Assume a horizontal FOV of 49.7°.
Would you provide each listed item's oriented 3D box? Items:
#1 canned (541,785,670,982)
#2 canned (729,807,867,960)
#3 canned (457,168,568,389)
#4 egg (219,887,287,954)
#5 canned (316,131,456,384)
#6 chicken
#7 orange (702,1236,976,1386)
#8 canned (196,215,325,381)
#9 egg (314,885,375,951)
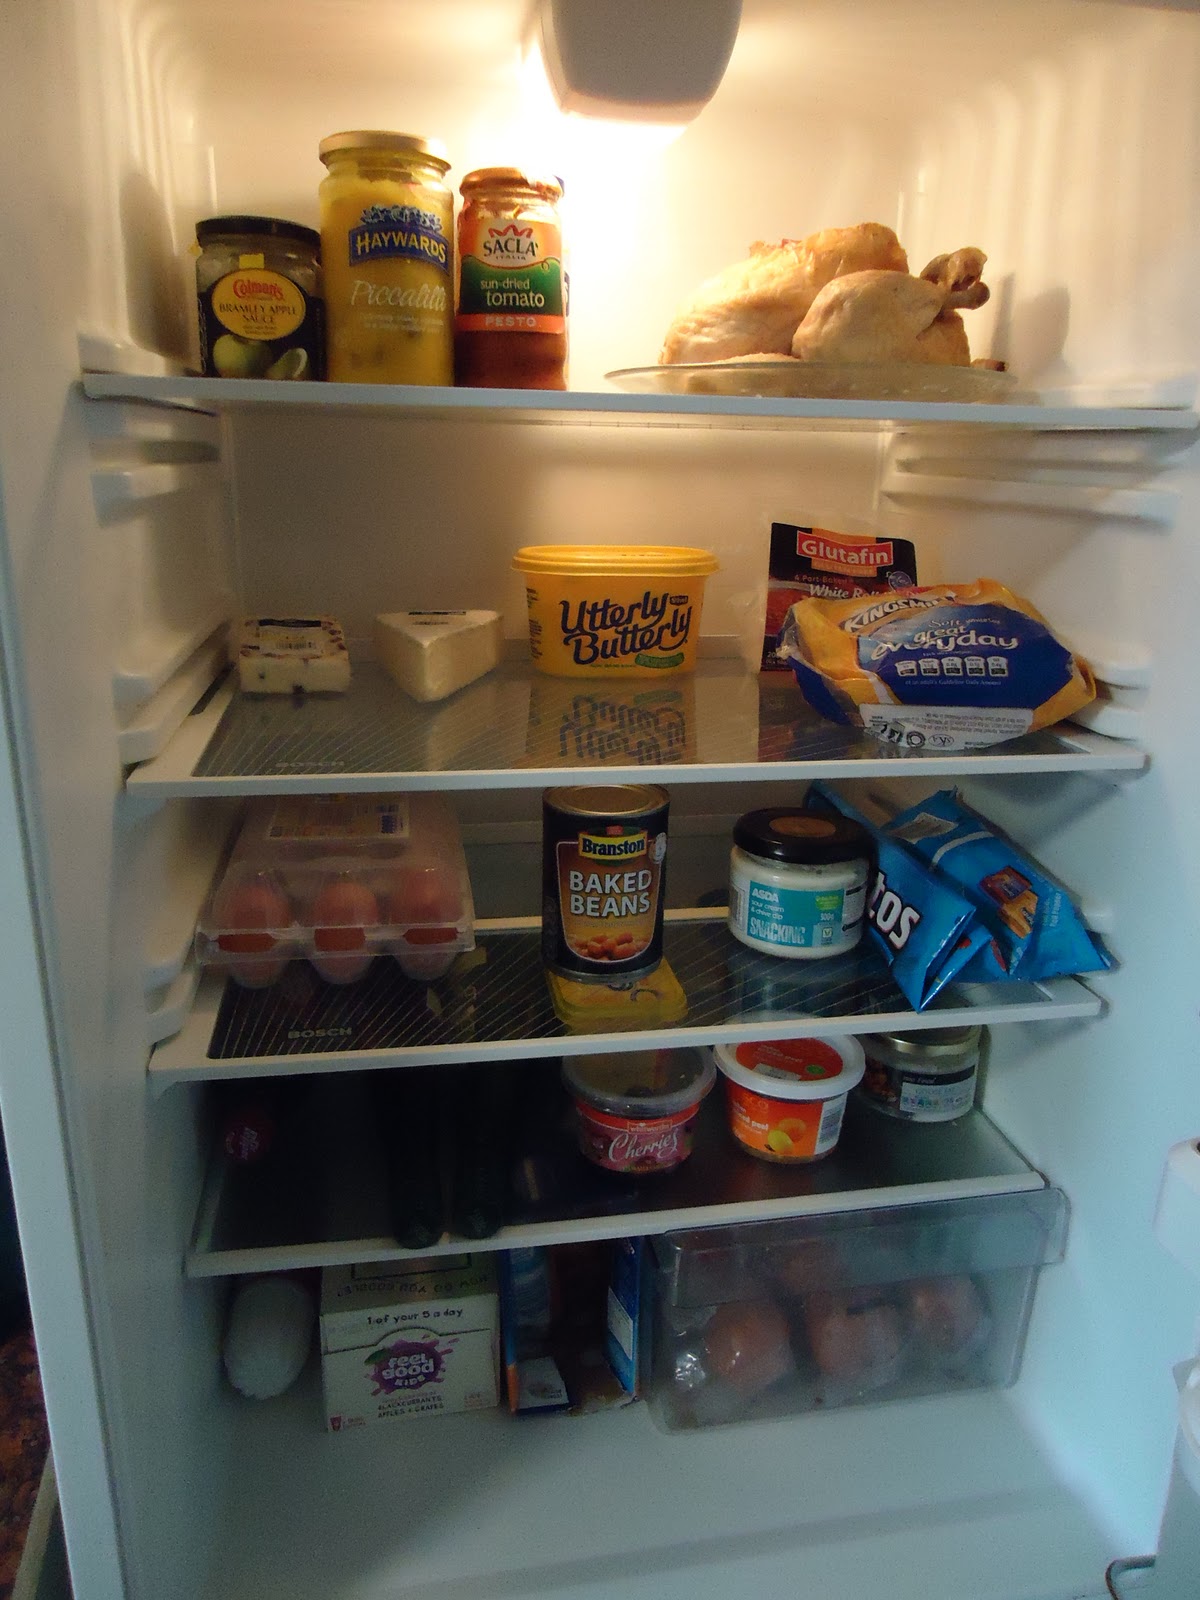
[{"bbox_3d":[0.004,0.072,1.141,0.112,0.153,0.105,0,17,-1],"label":"canned"},{"bbox_3d":[0.190,0.076,1.237,0.133,0.111,0.133,12,20,29],"label":"canned"},{"bbox_3d":[-0.070,-0.392,0.973,0.088,0.156,0.110,-1,20,-2],"label":"canned"},{"bbox_3d":[-0.279,0.103,1.081,0.050,0.057,0.049,7,-8,25],"label":"egg"},{"bbox_3d":[-0.162,-0.405,0.992,0.109,0.172,0.107,-15,25,-43],"label":"canned"},{"bbox_3d":[0.181,-0.409,1.075,0.254,0.128,0.221,1,20,3],"label":"chicken"},{"bbox_3d":[0.227,0.498,1.251,0.259,0.147,0.091,-2,-19,-4],"label":"orange"},{"bbox_3d":[-0.255,-0.377,0.974,0.094,0.114,0.079,-6,21,-15],"label":"canned"},{"bbox_3d":[-0.220,0.100,1.108,0.052,0.050,0.044,-4,20,-11],"label":"egg"}]
